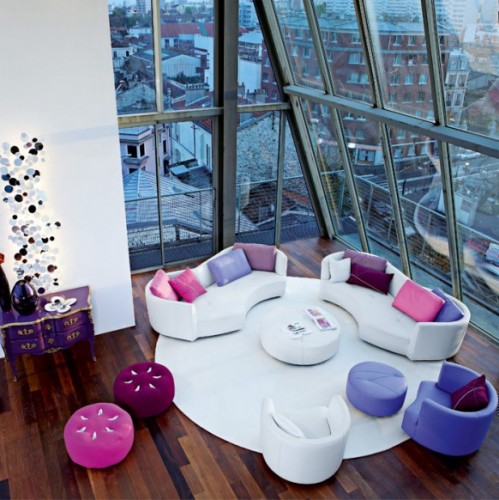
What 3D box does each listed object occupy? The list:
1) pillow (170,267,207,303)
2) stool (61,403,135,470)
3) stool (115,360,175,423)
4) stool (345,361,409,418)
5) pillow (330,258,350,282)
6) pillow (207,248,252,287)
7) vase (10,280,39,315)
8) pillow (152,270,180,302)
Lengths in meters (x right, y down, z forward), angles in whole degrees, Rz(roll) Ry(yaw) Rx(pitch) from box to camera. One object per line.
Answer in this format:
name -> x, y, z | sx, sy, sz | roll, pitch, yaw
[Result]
pillow -> -0.819, 0.492, 6.427 | 0.559, 0.613, 0.140 | -33, 56, -31
stool -> -1.514, 1.876, 4.242 | 0.642, 0.334, 0.563 | 7, 23, 27
stool -> -1.149, 1.706, 5.133 | 0.949, 0.539, 1.019 | 3, -6, 3
stool -> 1.490, 1.668, 4.881 | 0.510, 0.272, 0.538 | -9, 17, -22
pillow -> 1.499, 0.355, 6.932 | 0.302, 0.350, 0.120 | -3, 15, -6
pillow -> -0.316, 0.295, 6.947 | 0.218, 0.509, 0.818 | -25, 0, 40
vase -> -2.761, 0.602, 5.125 | 0.246, 0.427, 0.264 | 17, 23, 37
pillow -> -1.242, 0.553, 6.032 | 0.117, 0.416, 0.414 | -26, -2, 18
